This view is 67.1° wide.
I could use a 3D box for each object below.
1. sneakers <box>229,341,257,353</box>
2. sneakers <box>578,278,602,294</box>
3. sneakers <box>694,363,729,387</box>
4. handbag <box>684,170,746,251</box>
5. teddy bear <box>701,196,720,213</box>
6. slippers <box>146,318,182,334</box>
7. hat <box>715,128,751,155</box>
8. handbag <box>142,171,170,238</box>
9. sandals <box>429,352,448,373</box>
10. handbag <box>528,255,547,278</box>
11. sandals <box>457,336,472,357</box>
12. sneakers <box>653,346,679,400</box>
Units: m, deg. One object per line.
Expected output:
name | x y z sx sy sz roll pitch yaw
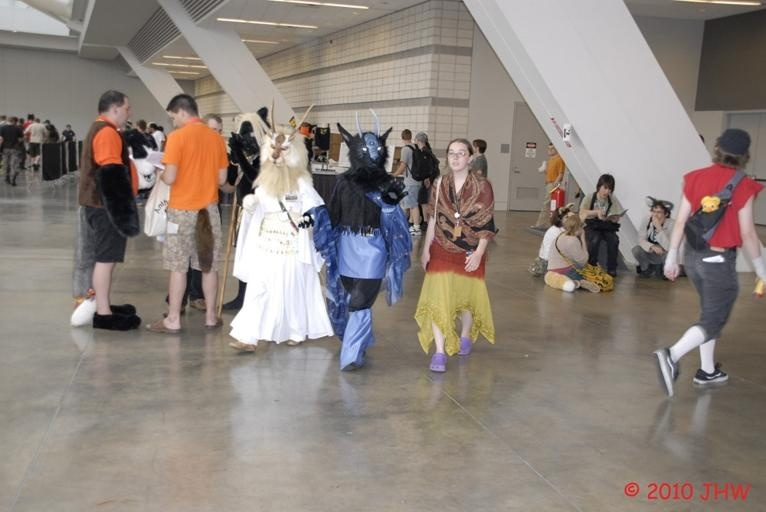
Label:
sneakers | -1.166 0.756 4.823 0.183 0.077 0.098 17 1 -24
sneakers | 2.559 0.364 7.162 0.242 0.134 0.080 23 38 29
sneakers | 2.622 0.948 4.620 0.326 0.143 0.121 -6 8 -29
handbag | 2.355 -0.330 4.130 0.293 0.556 0.225 -13 42 -12
teddy bear | 2.308 -0.368 4.081 0.093 0.105 0.142 4 4 -25
slippers | -1.957 0.618 5.208 0.239 0.087 0.141 4 2 4
hat | 2.555 -0.830 4.221 0.209 0.183 0.244 10 15 29
handbag | -1.969 -0.460 5.071 0.210 0.556 0.385 -3 14 -20
sandals | 0.446 0.839 4.640 0.079 0.086 0.205 0 9 -3
handbag | 2.082 0.154 7.846 0.268 0.258 0.202 -1 4 -6
sandals | 0.715 0.769 5.009 0.109 0.152 0.240 4 13 8
sneakers | 2.088 0.861 4.316 0.168 0.386 0.132 -11 15 4
